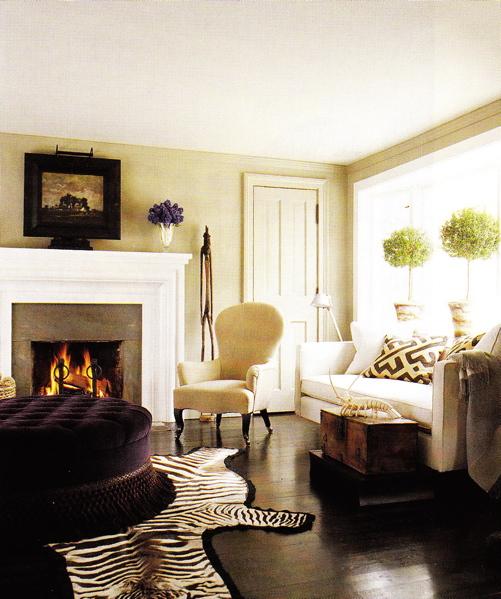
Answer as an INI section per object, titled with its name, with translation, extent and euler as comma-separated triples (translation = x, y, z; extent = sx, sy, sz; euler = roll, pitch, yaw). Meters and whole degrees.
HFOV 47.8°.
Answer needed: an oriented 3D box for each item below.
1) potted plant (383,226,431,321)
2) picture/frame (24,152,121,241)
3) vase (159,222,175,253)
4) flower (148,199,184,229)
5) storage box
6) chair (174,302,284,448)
[potted plant]
translation = 1.255, -0.200, 4.614
extent = 0.347, 0.746, 0.426
euler = 1, -1, 3
[picture/frame]
translation = -1.452, -0.827, 4.652
extent = 0.725, 0.753, 0.206
euler = 1, -8, -21
[vase]
translation = -0.706, -0.546, 4.810
extent = 0.180, 0.224, 0.181
euler = 1, 0, -5
[flower]
translation = -0.702, -0.717, 4.726
extent = 0.227, 0.204, 0.277
euler = 5, 11, -2
[storage box]
translation = 0.654, 0.718, 2.888
extent = 0.254, 0.221, 0.475
euler = -1, -1, -20
[chair]
translation = -0.163, 0.513, 4.215
extent = 0.654, 0.997, 0.777
euler = 0, -1, 26
